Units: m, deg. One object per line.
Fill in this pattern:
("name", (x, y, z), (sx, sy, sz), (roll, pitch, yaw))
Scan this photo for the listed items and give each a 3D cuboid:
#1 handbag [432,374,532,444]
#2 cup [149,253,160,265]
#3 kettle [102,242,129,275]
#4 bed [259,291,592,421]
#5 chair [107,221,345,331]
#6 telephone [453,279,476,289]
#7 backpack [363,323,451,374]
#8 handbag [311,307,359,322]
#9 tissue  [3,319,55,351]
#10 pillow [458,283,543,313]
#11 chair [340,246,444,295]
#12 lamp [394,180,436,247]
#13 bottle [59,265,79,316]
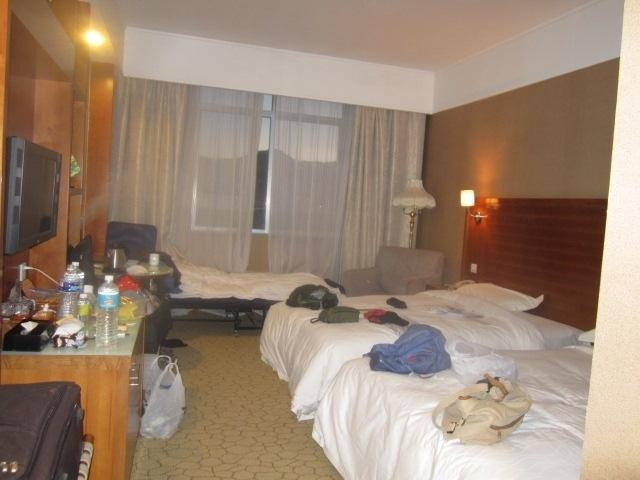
("handbag", (0.764, 0.805, 2.323), (0.369, 0.164, 0.299), (-11, 19, 1))
("cup", (-1.655, 0.196, 4.964), (0.111, 0.121, 0.110), (1, 7, 0))
("kettle", (-1.846, 0.184, 4.400), (0.194, 0.229, 0.233), (8, 5, 35))
("bed", (0.966, 0.981, 4.370), (2.834, 0.691, 2.498), (3, -2, -10))
("chair", (-1.150, 0.544, 5.693), (2.381, 1.020, 1.351), (1, 8, -16))
("telephone", (1.521, 0.472, 5.270), (0.125, 0.052, 0.212), (-6, 1, 34))
("backpack", (0.556, 0.654, 3.030), (0.347, 0.146, 0.285), (0, 2, 3))
("handbag", (0.127, 0.608, 3.968), (0.373, 0.118, 0.219), (4, 7, 5))
("tissue ", (-1.391, 0.460, 2.386), (0.176, 0.110, 0.199), (3, 7, -4))
("pillow", (1.686, 0.534, 4.749), (0.359, 0.106, 0.514), (-8, 15, -32))
("chair", (0.892, 0.435, 6.065), (0.791, 0.760, 0.992), (9, 11, 40))
("lamp", (1.262, -0.319, 6.711), (0.566, 0.963, 0.819), (5, 8, 11))
("bottle", (-1.358, 0.260, 2.691), (0.114, 0.283, 0.269), (0, 8, -25))
